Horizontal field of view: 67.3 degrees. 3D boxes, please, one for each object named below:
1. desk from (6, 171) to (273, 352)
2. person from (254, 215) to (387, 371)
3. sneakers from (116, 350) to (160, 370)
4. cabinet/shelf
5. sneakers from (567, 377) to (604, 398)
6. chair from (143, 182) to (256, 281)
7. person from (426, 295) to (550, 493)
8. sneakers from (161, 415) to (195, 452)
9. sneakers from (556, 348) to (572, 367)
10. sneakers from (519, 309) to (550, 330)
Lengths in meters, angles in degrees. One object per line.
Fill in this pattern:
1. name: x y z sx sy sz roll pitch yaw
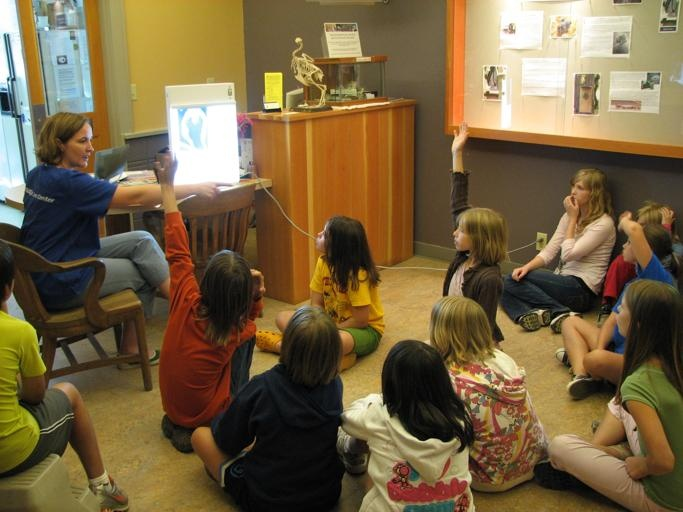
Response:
1. desk: -1.100 -0.137 3.921 0.839 1.067 0.884 11 25 1
2. person: -0.172 0.140 3.434 0.817 1.110 0.806 -3 9 -26
3. sneakers: -1.217 0.653 3.142 0.286 0.094 0.161 -7 10 -30
4. cabinet/shelf: -0.095 -0.458 3.933 1.444 1.436 0.472 -11 16 -42
5. sneakers: 1.307 0.716 2.782 0.220 0.096 0.097 -5 13 -27
6. chair: -0.854 -0.160 3.113 0.443 0.665 0.473 19 23 34
7. person: 0.595 0.552 2.370 0.574 0.819 0.611 -13 6 -43
8. sneakers: -0.797 0.867 2.487 0.120 0.187 0.064 -4 -3 27
9. sneakers: 1.338 0.618 3.125 0.140 0.061 0.048 28 15 -46
10. sneakers: 1.341 0.446 3.611 0.204 0.119 0.082 -22 6 -26
